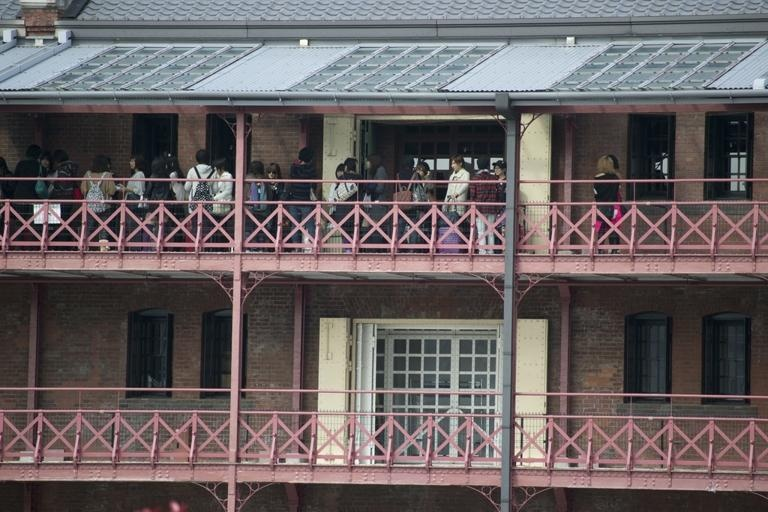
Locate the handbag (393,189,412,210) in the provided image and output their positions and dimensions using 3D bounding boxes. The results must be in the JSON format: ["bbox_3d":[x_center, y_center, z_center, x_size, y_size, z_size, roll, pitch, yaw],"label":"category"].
[{"bbox_3d":[0.275,-1.242,60.595,0.412,0.543,0.222,-4,-12,23],"label":"handbag"}]

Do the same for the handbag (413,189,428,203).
[{"bbox_3d":[0.671,-1.344,60.563,0.326,0.262,0.414,1,-5,0],"label":"handbag"}]

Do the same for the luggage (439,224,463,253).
[{"bbox_3d":[1.297,-0.377,59.692,0.533,0.551,0.562,1,-8,0],"label":"luggage"}]
